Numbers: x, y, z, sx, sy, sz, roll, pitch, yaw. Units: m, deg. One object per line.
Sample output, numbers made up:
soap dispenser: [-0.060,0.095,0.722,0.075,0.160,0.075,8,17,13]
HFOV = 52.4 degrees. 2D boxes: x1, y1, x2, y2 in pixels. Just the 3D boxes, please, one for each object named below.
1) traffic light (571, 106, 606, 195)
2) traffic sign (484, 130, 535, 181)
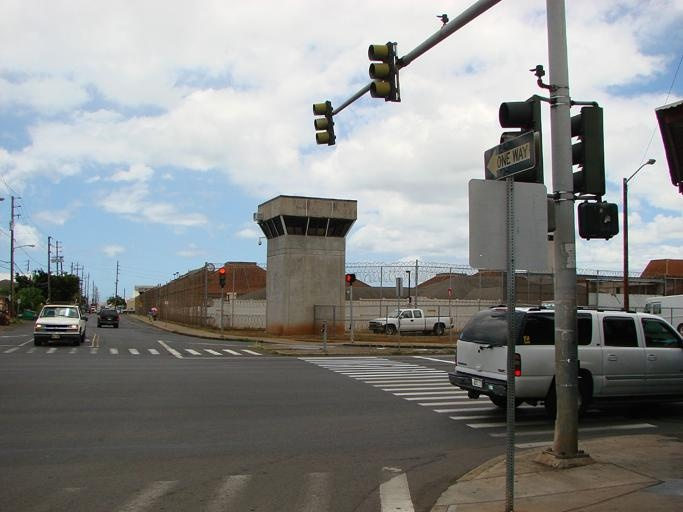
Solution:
traffic light: [3.960,-1.687,11.152,0.491,1.480,0.426,0,-1,15]
traffic sign: [2.353,-1.372,9.769,0.267,0.590,0.994,0,-2,-24]
